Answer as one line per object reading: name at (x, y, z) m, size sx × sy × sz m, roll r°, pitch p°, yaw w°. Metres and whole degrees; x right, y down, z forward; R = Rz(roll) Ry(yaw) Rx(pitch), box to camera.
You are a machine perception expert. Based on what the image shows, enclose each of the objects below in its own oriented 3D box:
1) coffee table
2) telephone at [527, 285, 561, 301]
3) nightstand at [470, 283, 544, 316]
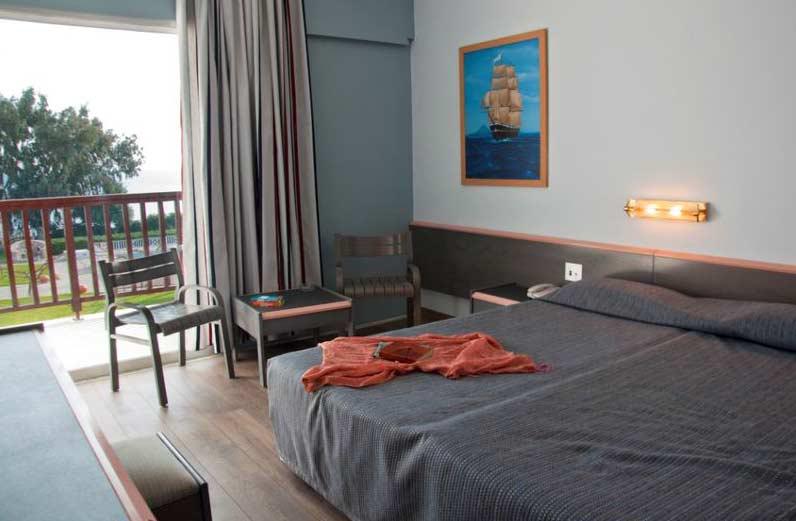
coffee table at (-0.785, 0.476, 4.211) m, size 0.767 × 0.536 × 0.785 m, roll -7°, pitch 15°, yaw -34°
telephone at (1.066, 0.232, 4.018) m, size 0.179 × 0.049 × 0.133 m, roll -8°, pitch 12°, yaw -37°
nightstand at (0.815, 0.275, 4.241) m, size 0.333 × 0.273 × 0.303 m, roll -6°, pitch 8°, yaw -43°
